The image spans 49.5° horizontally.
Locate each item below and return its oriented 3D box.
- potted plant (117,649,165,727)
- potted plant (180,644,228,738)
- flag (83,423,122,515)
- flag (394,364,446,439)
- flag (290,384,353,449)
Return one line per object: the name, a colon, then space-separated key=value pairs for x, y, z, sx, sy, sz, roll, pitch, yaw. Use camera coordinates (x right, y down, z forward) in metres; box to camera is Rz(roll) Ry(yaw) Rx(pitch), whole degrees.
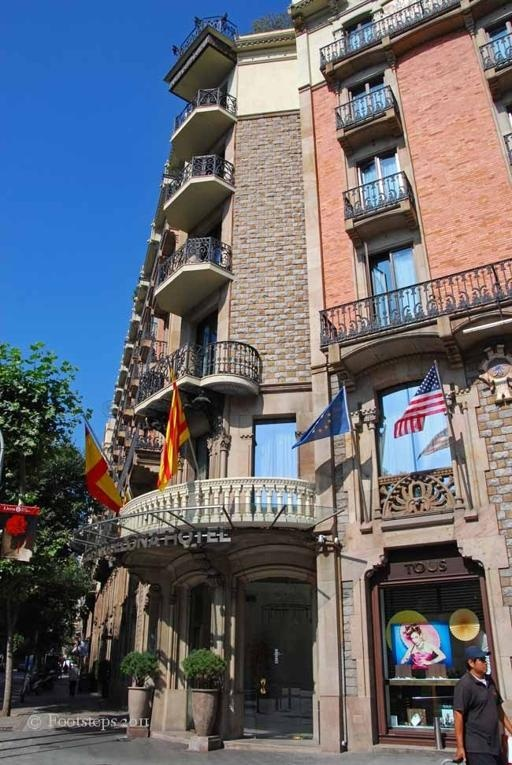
potted plant: x=-3.030 y=7.979 z=14.579 sx=0.931 sy=1.718 sz=1.055 roll=0 pitch=-22 yaw=-3
potted plant: x=-1.175 y=7.006 z=12.737 sx=0.937 sy=1.719 sz=1.913 roll=0 pitch=-22 yaw=-3
flag: x=-4.373 y=2.136 z=15.267 sx=0.918 sy=0.157 sz=3.679 roll=-1 pitch=-61 yaw=2
flag: x=3.728 y=0.448 z=12.434 sx=1.341 sy=1.700 sz=0.136 roll=-19 pitch=-28 yaw=20
flag: x=1.518 y=0.961 z=13.543 sx=1.531 sy=1.618 sz=0.110 roll=-17 pitch=-57 yaw=12
